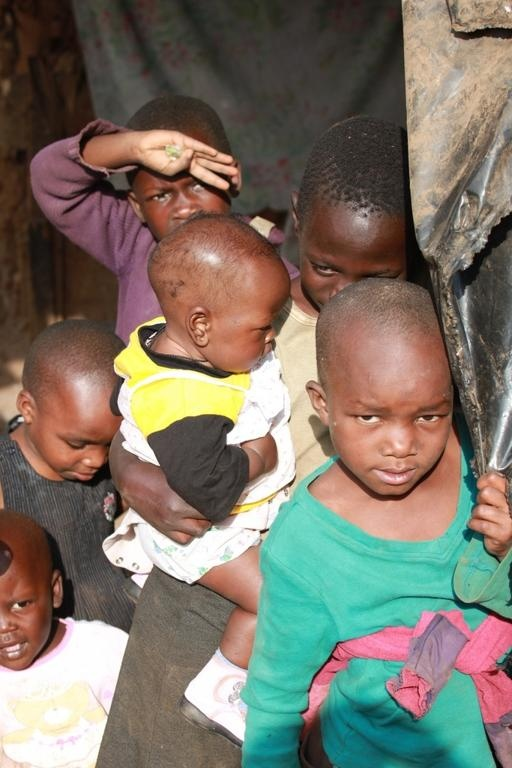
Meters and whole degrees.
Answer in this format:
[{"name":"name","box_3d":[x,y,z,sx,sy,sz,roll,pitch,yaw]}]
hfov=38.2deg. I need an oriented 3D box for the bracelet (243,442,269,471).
[{"name":"bracelet","box_3d":[0.002,0.196,2.009,0.069,0.068,0.079,-5,17,9]}]
